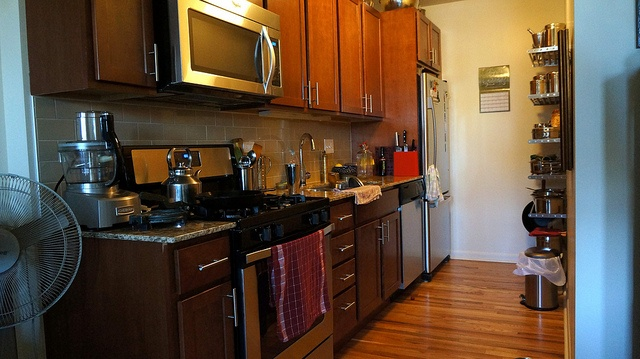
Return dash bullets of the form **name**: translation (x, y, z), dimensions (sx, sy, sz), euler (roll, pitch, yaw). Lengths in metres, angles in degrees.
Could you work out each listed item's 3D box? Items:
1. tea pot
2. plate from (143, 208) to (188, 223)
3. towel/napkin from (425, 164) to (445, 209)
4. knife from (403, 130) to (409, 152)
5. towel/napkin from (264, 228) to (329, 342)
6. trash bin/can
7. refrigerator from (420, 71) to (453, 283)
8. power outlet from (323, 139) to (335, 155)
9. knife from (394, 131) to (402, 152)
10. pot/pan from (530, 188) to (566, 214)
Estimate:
- **tea pot**: translation (-0.927, 0.012, 3.247), dimensions (0.254, 0.442, 0.273), euler (-3, 5, 0)
- **plate**: translation (-0.952, 0.233, 2.968), dimensions (0.244, 0.093, 0.092), euler (-5, 13, -14)
- **towel/napkin**: translation (1.290, 0.064, 5.316), dimensions (0.118, 0.482, 0.427), euler (5, 14, 30)
- **knife**: translation (0.952, -0.434, 5.269), dimensions (0.061, 0.225, 0.094), euler (0, 13, 9)
- **towel/napkin**: translation (-0.116, 0.724, 3.363), dimensions (0.104, 0.676, 0.762), euler (2, 9, 25)
- **trash bin/can**: translation (2.160, 0.961, 4.632), dimensions (0.408, 0.518, 0.331), euler (-1, 0, -4)
- **refrigerator**: translation (1.299, -0.053, 5.424), dimensions (0.326, 2.288, 1.011), euler (2, 13, 18)
- **power outlet**: translation (0.089, -0.354, 5.069), dimensions (0.030, 0.115, 0.184), euler (6, 10, 32)
- **knife**: translation (0.872, -0.418, 5.290), dimensions (0.078, 0.205, 0.098), euler (-3, 13, -3)
- **pot/pan**: translation (2.303, 0.220, 4.806), dimensions (0.301, 0.197, 0.223), euler (1, 2, 28)
